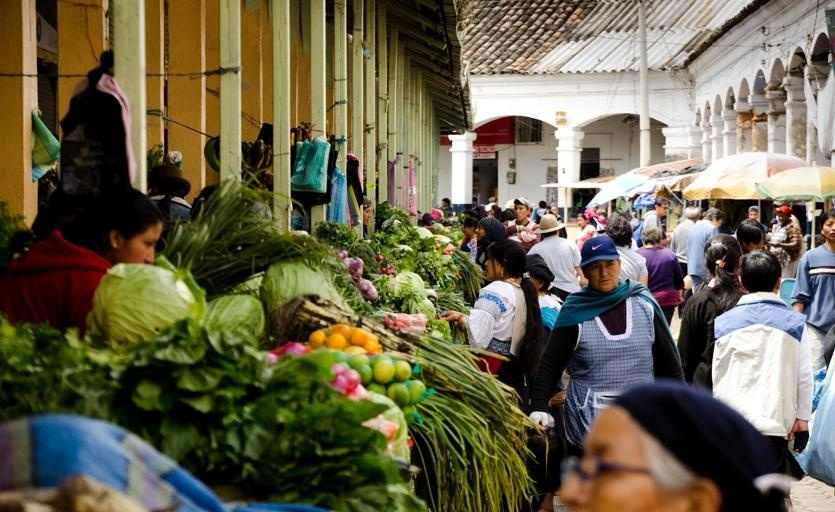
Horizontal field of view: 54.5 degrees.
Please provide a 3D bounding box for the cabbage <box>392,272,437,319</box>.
[{"bbox_3d":[-0.017,0.283,5.788,0.148,0.312,0.299,-34,21,21],"label":"cabbage"}]

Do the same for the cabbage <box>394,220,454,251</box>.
[{"bbox_3d":[0.015,-0.178,8.337,0.410,0.181,0.399,4,1,-21],"label":"cabbage"}]

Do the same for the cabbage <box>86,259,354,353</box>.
[{"bbox_3d":[-1.035,0.195,3.708,0.842,0.475,0.509,0,0,2],"label":"cabbage"}]
